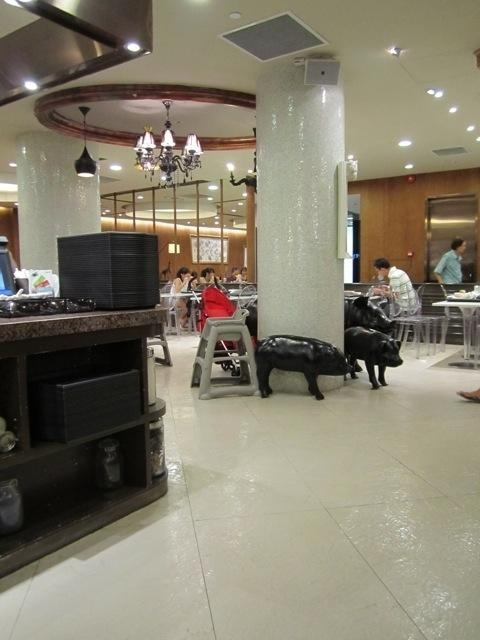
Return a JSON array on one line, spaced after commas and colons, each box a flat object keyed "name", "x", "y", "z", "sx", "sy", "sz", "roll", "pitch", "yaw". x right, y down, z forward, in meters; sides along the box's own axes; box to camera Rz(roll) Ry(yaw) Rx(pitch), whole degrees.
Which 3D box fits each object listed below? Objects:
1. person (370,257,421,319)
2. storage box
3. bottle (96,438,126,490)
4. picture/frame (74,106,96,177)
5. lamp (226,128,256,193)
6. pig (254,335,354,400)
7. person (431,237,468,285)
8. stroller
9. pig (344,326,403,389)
[{"name": "person", "x": 2.247, "y": -0.451, "z": 6.691, "sx": 0.600, "sy": 1.084, "sz": 0.660, "roll": -6, "pitch": 10, "yaw": -43}, {"name": "storage box", "x": -0.519, "y": 0.302, "z": 1.690, "sx": 0.136, "sy": 0.205, "sz": 0.420, "roll": 0, "pitch": 1, "yaw": 33}, {"name": "bottle", "x": -0.549, "y": 0.598, "z": 1.995, "sx": 0.158, "sy": 0.287, "sz": 0.163, "roll": 0, "pitch": 1, "yaw": 0}, {"name": "picture/frame", "x": -2.093, "y": -2.276, "z": 6.256, "sx": 0.257, "sy": 1.088, "sz": 0.279, "roll": -1, "pitch": 9, "yaw": -12}, {"name": "lamp", "x": 0.083, "y": -3.008, "z": 9.638, "sx": 0.569, "sy": 1.749, "sz": 0.605, "roll": 4, "pitch": 5, "yaw": 8}, {"name": "pig", "x": 0.513, "y": 0.401, "z": 3.844, "sx": 0.787, "sy": 0.533, "sz": 0.244, "roll": 0, "pitch": 1, "yaw": 14}, {"name": "person", "x": 3.569, "y": -0.908, "z": 7.725, "sx": 0.561, "sy": 1.000, "sz": 0.502, "roll": 3, "pitch": 7, "yaw": 16}, {"name": "stroller", "x": -0.126, "y": -0.049, "z": 4.990, "sx": 0.761, "sy": 1.461, "sz": 0.778, "roll": -1, "pitch": 9, "yaw": -33}, {"name": "pig", "x": 1.217, "y": 0.278, "z": 4.369, "sx": 0.519, "sy": 0.631, "sz": 0.557, "roll": 2, "pitch": 9, "yaw": -17}]
